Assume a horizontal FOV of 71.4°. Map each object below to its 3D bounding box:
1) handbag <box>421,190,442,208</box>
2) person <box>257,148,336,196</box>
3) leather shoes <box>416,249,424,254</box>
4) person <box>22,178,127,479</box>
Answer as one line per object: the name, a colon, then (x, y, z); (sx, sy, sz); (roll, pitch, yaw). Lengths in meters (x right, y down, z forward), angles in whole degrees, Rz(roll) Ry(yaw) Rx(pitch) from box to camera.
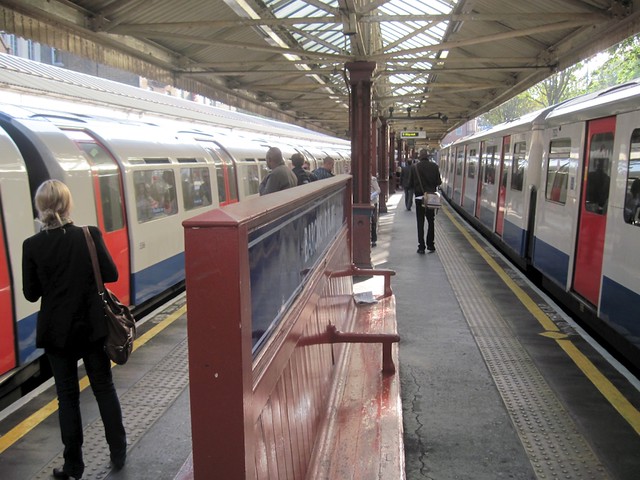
handbag: (2.693, -1.064, 10.716); (0.542, 0.596, 0.301); (2, 9, 0)
person: (-0.379, -1.231, 8.009); (0.523, 1.177, 2.154); (-6, 4, 9)
leather shoes: (2.543, 0.251, 11.069); (0.189, 0.127, 0.282); (2, 13, 11)
person: (-1.931, 0.700, 3.437); (0.627, 2.280, 0.521); (1, 11, 9)
